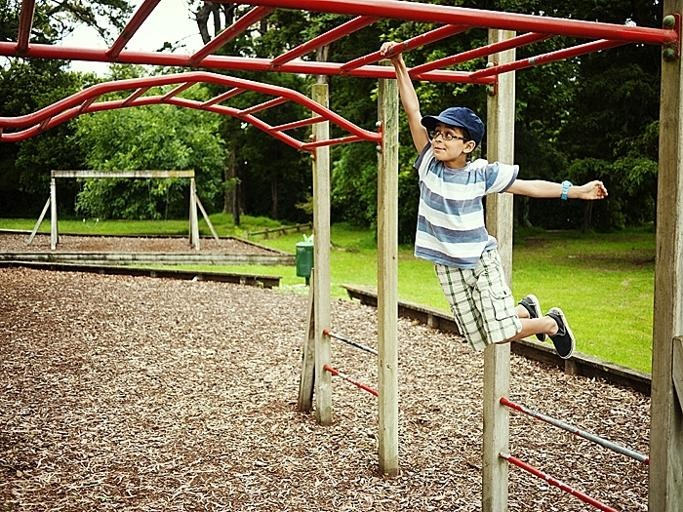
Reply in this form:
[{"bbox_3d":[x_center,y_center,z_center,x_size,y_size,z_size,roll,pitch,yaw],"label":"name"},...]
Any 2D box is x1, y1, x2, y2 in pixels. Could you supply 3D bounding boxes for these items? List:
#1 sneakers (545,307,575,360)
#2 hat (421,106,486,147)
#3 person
[{"bbox_3d":[1.645,0.585,5.963,0.170,0.417,0.162,-10,-11,-44],"label":"sneakers"},{"bbox_3d":[0.797,-0.929,5.684,0.361,0.191,0.254,26,0,-20],"label":"hat"},{"bbox_3d":[0.982,-0.363,5.694,1.486,2.198,0.506,7,14,20],"label":"person"}]
